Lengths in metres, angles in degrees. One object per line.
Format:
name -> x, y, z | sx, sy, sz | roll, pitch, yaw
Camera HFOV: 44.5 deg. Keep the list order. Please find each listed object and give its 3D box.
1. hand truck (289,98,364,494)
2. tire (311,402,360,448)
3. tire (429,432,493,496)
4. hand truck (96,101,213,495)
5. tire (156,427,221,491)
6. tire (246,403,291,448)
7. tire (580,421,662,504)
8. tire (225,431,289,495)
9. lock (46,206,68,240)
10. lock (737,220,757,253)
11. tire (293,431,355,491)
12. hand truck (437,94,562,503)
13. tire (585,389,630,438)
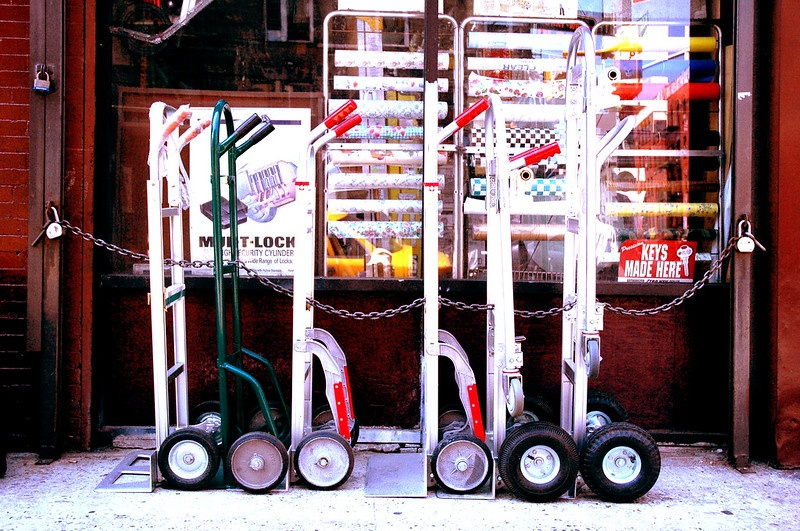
hand truck -> -0.565, 0.201, 7.324 | 0.475, 2.798, 0.662 | 1, 3, -5
tire -> -0.492, 1.183, 7.256 | 0.386, 0.427, 0.144 | 0, 2, -1
tire -> 0.441, 1.431, 7.049 | 0.397, 0.440, 0.151 | -1, 2, -1
hand truck -> -1.802, 0.209, 7.345 | 0.684, 2.808, 0.854 | 1, 3, -12
tire -> -1.547, 1.396, 7.053 | 0.369, 0.408, 0.160 | 7, 2, -1
tire -> -0.976, 1.190, 7.392 | 0.288, 0.313, 0.088 | -19, -10, 24
tire -> 1.574, 1.420, 6.984 | 0.425, 0.461, 0.142 | -16, 3, 1
tire -> -1.042, 1.433, 7.041 | 0.387, 0.429, 0.163 | 2, 4, 1
lock -> -2.641, -0.324, 7.454 | 0.171, 0.309, 0.077 | -11, -16, 0
lock -> 2.657, -0.220, 7.441 | 0.141, 0.245, 0.080 | 3, 3, 20
tire -> -0.564, 1.406, 7.087 | 0.369, 0.409, 0.172 | 3, 3, 1
hand truck -> 0.764, 0.218, 7.145 | 1.015, 2.878, 0.585 | 2, 3, 2
tire -> 1.562, 1.112, 7.414 | 0.266, 0.292, 0.277 | 9, 1, -10
